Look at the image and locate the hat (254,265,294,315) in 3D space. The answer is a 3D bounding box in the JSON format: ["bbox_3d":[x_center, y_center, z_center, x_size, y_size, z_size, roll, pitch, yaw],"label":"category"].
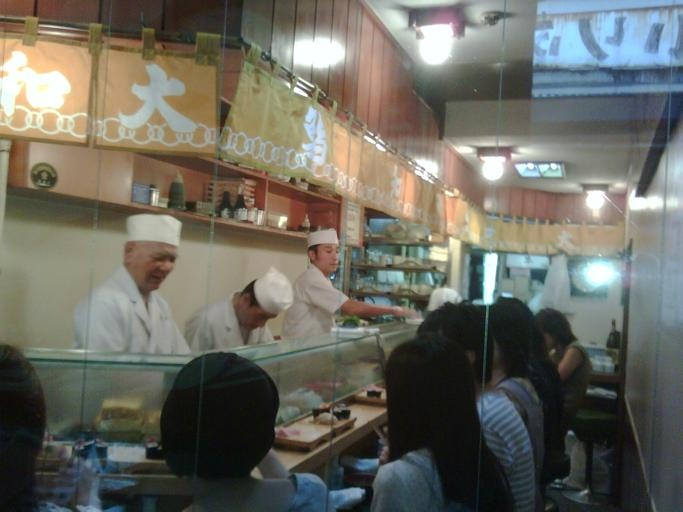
[{"bbox_3d":[-0.202,0.111,1.898,0.100,0.142,0.108,-22,36,-14],"label":"hat"}]

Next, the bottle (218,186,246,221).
[{"bbox_3d":[-0.313,-0.150,1.759,0.081,0.067,0.028,4,-2,-14],"label":"bottle"}]

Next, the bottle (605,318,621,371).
[{"bbox_3d":[0.786,0.255,1.766,0.053,0.147,0.028,4,-2,-36],"label":"bottle"}]

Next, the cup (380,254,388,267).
[{"bbox_3d":[0.118,0.014,1.729,0.024,0.026,0.043,0,-11,3],"label":"cup"}]

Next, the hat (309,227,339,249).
[{"bbox_3d":[-0.046,-0.046,1.810,0.061,0.036,0.061,6,-11,-44],"label":"hat"}]

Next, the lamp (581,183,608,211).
[{"bbox_3d":[0.736,-0.172,1.773,0.068,0.078,0.071,0,-6,1],"label":"lamp"}]

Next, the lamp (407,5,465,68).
[{"bbox_3d":[0.281,-0.653,1.893,0.150,0.190,0.146,7,-2,10],"label":"lamp"}]

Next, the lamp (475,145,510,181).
[{"bbox_3d":[0.450,-0.276,1.862,0.099,0.106,0.095,1,-4,0],"label":"lamp"}]

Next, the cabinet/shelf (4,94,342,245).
[{"bbox_3d":[-0.487,-0.194,1.811,0.989,0.218,0.138,3,-2,-3],"label":"cabinet/shelf"}]

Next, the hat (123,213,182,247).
[{"bbox_3d":[-0.551,-0.073,1.760,0.115,0.064,0.094,1,1,12],"label":"hat"}]

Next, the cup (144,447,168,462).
[{"bbox_3d":[-0.574,0.597,1.861,0.038,0.037,0.049,1,-5,-2],"label":"cup"}]
